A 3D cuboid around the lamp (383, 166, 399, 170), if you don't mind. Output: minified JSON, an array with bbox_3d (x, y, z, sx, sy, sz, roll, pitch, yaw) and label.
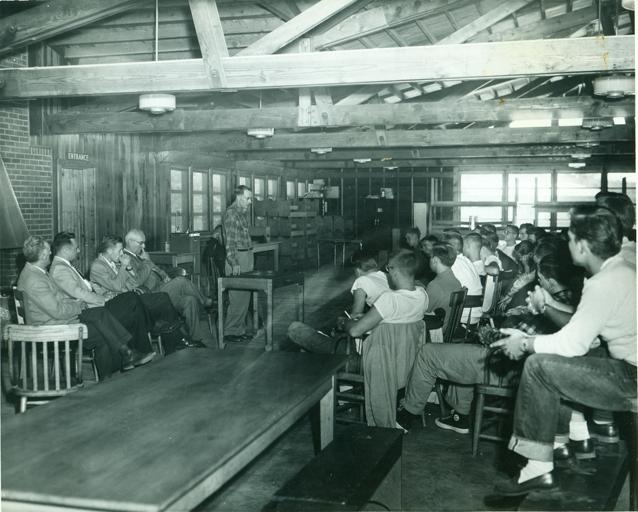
[{"bbox_3d":[1.766,-2.223,17.755,0.346,0.089,0.374,-1,5,4],"label":"lamp"}]

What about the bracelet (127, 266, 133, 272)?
[{"bbox_3d":[-2.205,0.147,8.213,0.066,0.039,0.116,0,-1,-26],"label":"bracelet"}]

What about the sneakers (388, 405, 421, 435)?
[{"bbox_3d":[0.754,1.441,6.187,0.231,0.272,0.399,3,-1,-4],"label":"sneakers"}]

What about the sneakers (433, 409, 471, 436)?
[{"bbox_3d":[1.161,1.409,6.068,0.312,0.216,0.136,11,5,43],"label":"sneakers"}]

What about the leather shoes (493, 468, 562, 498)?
[{"bbox_3d":[1.420,1.545,4.843,0.407,0.180,0.176,-5,-3,17],"label":"leather shoes"}]

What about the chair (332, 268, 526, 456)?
[{"bbox_3d":[1.019,1.036,5.701,1.070,1.518,0.598,7,-6,19],"label":"chair"}]

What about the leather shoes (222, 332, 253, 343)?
[{"bbox_3d":[-1.030,1.025,8.994,0.347,0.146,0.116,5,-4,-13],"label":"leather shoes"}]

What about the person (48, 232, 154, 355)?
[{"bbox_3d":[-2.090,0.473,6.759,1.094,1.277,0.588,10,13,7],"label":"person"}]

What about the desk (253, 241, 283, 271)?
[{"bbox_3d":[-1.074,-0.047,13.140,0.731,0.694,0.629,0,0,5],"label":"desk"}]
